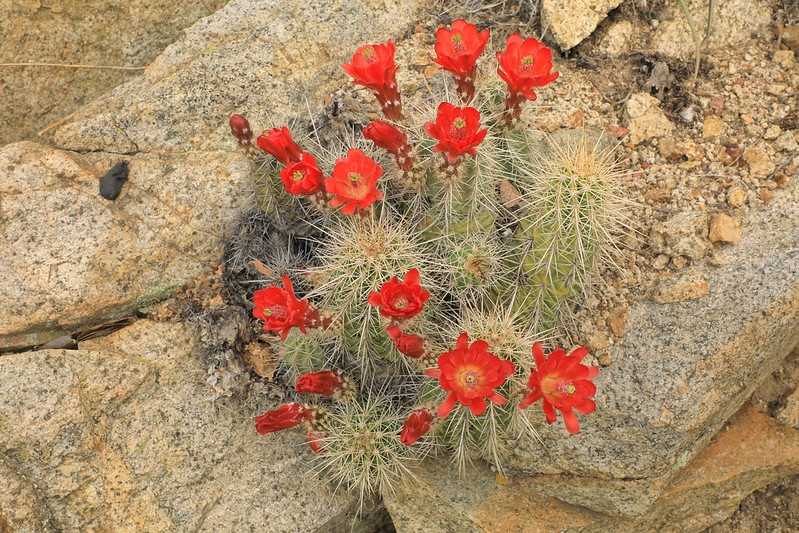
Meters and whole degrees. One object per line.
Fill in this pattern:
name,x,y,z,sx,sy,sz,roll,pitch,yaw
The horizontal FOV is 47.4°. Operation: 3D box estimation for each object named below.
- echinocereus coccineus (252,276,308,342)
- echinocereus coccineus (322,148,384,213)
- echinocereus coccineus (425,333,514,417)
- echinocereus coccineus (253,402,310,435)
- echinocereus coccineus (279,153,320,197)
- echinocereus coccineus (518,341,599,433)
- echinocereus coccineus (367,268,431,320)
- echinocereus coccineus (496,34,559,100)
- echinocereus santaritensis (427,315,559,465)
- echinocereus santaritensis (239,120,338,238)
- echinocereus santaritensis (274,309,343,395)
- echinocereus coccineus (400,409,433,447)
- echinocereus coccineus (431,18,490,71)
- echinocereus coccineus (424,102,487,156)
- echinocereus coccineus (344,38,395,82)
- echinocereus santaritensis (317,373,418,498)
echinocereus coccineus,-0.725,0.280,5.642,0.307,0.301,0.342,-26,82,0
echinocereus coccineus,-0.277,-0.500,5.559,0.344,0.130,0.384,38,86,7
echinocereus coccineus,0.386,0.683,5.437,0.397,0.098,0.513,37,86,7
echinocereus coccineus,-0.726,0.961,5.854,0.142,0.450,0.159,-11,89,30
echinocereus coccineus,-0.604,-0.559,5.675,0.245,0.144,0.216,-37,82,-2
echinocereus coccineus,0.950,0.740,5.443,0.236,0.514,0.443,9,86,38
echinocereus coccineus,0.034,0.212,5.404,0.298,0.148,0.295,19,60,37
echinocereus coccineus,0.804,-1.288,5.777,0.404,0.221,0.396,-21,67,-11
echinocereus santaritensis,0.537,0.654,5.931,0.909,1.089,0.931,-4,52,6
echinocereus santaritensis,-0.740,-0.682,5.986,0.372,0.486,0.953,-32,100,-6
echinocereus santaritensis,-0.630,0.563,6.082,0.264,0.250,0.589,-14,97,5
echinocereus coccineus,0.104,1.008,5.732,0.158,0.075,0.237,38,63,9
echinocereus coccineus,0.379,-1.416,5.867,0.306,0.152,0.294,20,84,6
echinocereus coccineus,0.338,-0.855,5.598,0.330,0.123,0.338,-24,82,0
echinocereus coccineus,-0.189,-1.296,5.805,0.335,0.159,0.253,-10,82,2
echinocereus santaritensis,-0.229,1.137,6.012,0.700,0.239,0.706,11,81,-4
